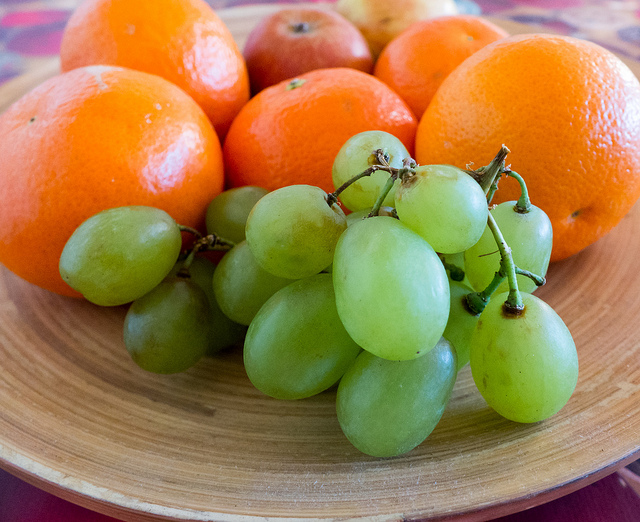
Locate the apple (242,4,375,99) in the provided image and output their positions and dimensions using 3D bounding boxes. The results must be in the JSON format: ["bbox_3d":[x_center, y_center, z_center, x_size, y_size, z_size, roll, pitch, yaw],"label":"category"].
[{"bbox_3d":[-0.020,-0.329,1.085,0.137,0.121,0.155,12,36,13],"label":"apple"}]

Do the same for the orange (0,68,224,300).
[{"bbox_3d":[-0.259,-0.085,0.965,0.245,0.210,0.267,-25,52,-26],"label":"orange"}]

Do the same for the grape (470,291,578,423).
[{"bbox_3d":[0.196,0.096,0.727,0.092,0.075,0.117,-34,71,-15],"label":"grape"}]

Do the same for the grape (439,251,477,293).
[{"bbox_3d":[0.142,0.010,0.800,0.037,0.049,0.039,-1,10,5],"label":"grape"}]

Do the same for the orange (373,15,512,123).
[{"bbox_3d":[0.168,-0.288,1.057,0.143,0.155,0.159,-21,35,-33],"label":"orange"}]
